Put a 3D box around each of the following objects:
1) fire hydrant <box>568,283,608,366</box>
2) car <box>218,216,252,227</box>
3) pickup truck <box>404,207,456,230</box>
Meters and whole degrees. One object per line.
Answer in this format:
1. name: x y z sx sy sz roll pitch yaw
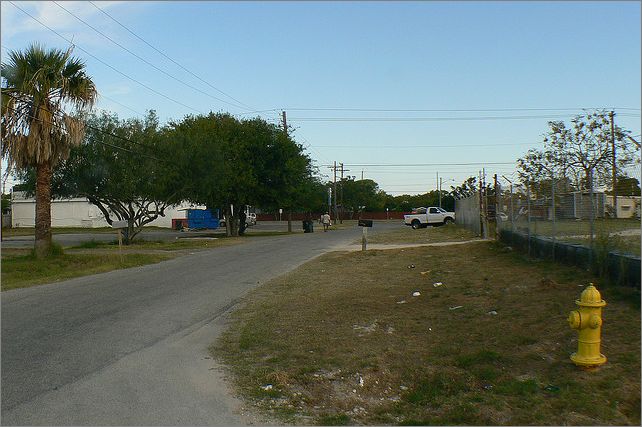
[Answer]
1. fire hydrant: 4.774 2.005 9.648 0.647 1.447 0.401 0 0 15
2. car: -10.649 1.062 68.439 3.600 1.624 2.281 -1 0 -1
3. pickup truck: 9.359 0.421 46.555 3.392 1.383 2.016 -4 0 20
